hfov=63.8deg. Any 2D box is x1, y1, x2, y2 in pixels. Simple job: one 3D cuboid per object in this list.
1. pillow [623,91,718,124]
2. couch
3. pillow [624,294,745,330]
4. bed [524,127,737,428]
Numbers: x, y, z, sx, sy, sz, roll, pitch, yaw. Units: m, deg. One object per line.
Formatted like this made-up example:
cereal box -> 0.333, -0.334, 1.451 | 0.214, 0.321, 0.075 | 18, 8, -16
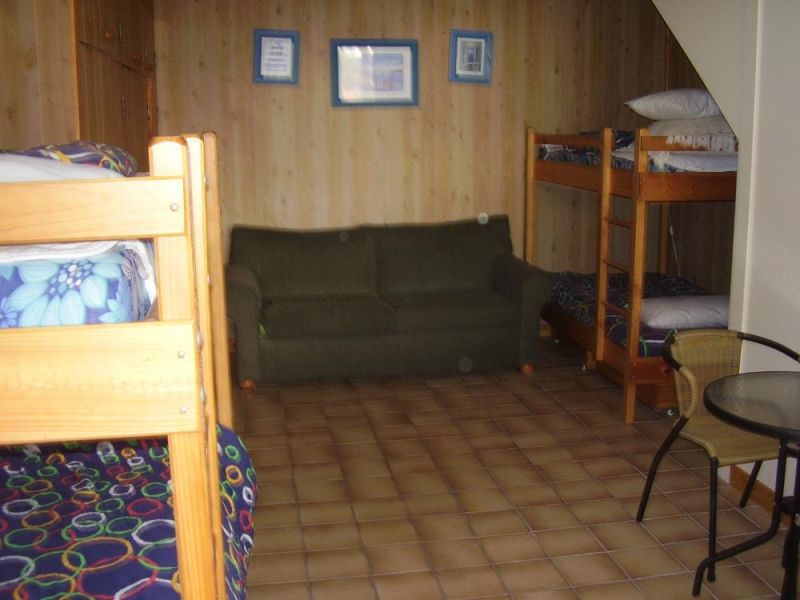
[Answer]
pillow -> 1.698, -1.183, 3.935 | 0.346, 0.111, 0.355 | 4, 11, 22
couch -> -0.135, -0.008, 4.545 | 2.162, 1.014, 0.920 | -2, 11, -9
pillow -> 1.669, 0.077, 3.759 | 0.533, 0.122, 0.260 | -1, 15, -2
bed -> 1.369, -0.146, 3.908 | 0.994, 1.486, 1.723 | -4, 13, -12
